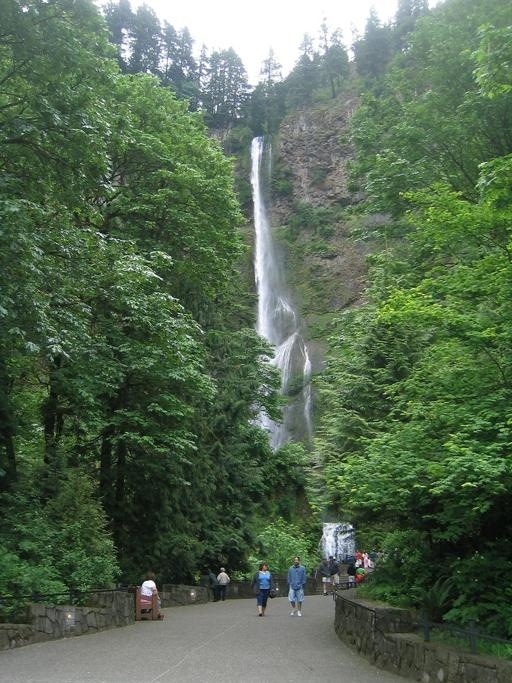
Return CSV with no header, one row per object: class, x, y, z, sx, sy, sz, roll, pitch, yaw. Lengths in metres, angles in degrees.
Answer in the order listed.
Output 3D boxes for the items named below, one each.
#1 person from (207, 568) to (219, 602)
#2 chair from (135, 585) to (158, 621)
person,-1.548,8.839,26.904,0.375,0.962,0.578,-2,-13,-4
chair,-2.702,6.473,18.310,0.763,0.866,0.663,-4,-17,5
